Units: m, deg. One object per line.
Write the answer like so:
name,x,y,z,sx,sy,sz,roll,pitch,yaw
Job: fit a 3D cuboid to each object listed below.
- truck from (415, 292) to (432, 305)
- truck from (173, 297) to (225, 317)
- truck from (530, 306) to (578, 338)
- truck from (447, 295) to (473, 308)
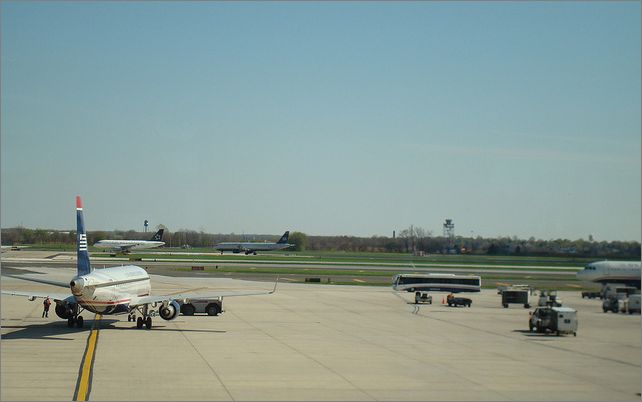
truck,14.742,13.977,107.242,3.156,1.545,1.548,1,0,-28
truck,-15.074,13.446,92.384,5.231,1.980,3.057,0,0,-3
truck,27.315,13.957,86.521,4.986,3.054,1.882,1,-1,26
truck,19.895,14.234,105.895,2.884,1.174,1.525,1,-2,7
